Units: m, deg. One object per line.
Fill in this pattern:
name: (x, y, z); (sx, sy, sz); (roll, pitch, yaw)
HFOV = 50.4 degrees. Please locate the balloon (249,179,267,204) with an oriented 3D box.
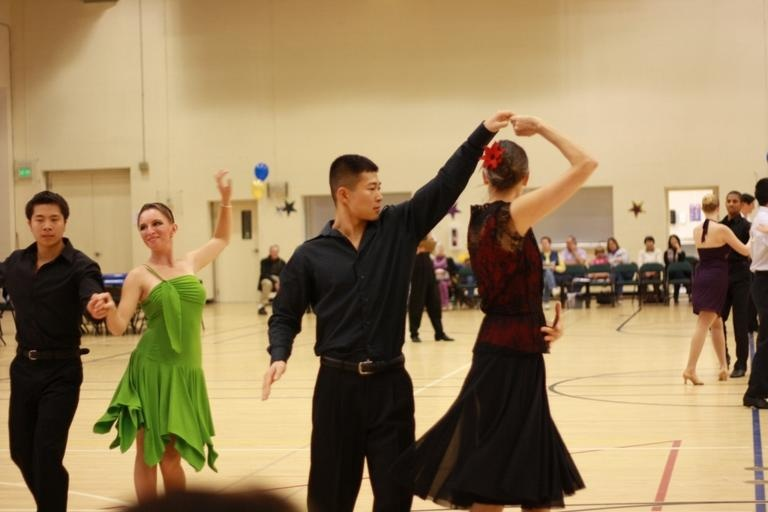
balloon: (-3.011, -1.577, 19.629); (0.445, 0.558, 0.552); (0, 2, -6)

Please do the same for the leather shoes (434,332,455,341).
leather shoes: (1.013, 1.338, 13.431); (0.354, 0.168, 0.122); (-2, -1, 2)

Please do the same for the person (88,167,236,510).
person: (-1.786, 0.590, 6.648); (1.091, 2.583, 0.678); (-1, 2, -22)

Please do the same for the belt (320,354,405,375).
belt: (-0.152, 0.778, 5.795); (0.591, 0.125, 0.135); (0, 2, -1)

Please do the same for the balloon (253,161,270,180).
balloon: (-2.972, -2.041, 19.893); (0.426, 0.603, 0.490); (-5, 5, -10)
